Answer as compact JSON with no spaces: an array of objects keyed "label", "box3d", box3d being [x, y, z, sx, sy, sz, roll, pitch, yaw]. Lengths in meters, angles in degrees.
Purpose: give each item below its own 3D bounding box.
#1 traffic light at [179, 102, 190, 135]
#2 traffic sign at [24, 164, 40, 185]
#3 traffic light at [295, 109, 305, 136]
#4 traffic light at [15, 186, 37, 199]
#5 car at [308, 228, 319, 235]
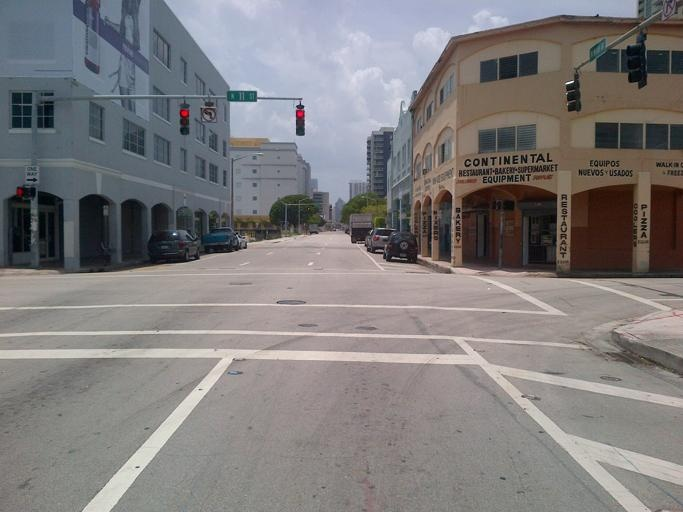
[{"label":"traffic light","box3d":[-6.175,-5.407,23.661,0.291,1.183,1.235,-1,8,-11]},{"label":"traffic sign","box3d":[-12.526,-3.270,24.297,0.493,0.779,0.275,-1,7,-16]},{"label":"traffic light","box3d":[-1.567,-5.227,23.254,0.274,1.068,0.360,-1,7,-14]},{"label":"traffic light","box3d":[-12.674,-2.535,24.088,0.307,0.535,0.681,-3,1,30]},{"label":"car","box3d":[-6.450,-5.706,138.807,1.375,1.327,2.362,-1,-5,1]}]
